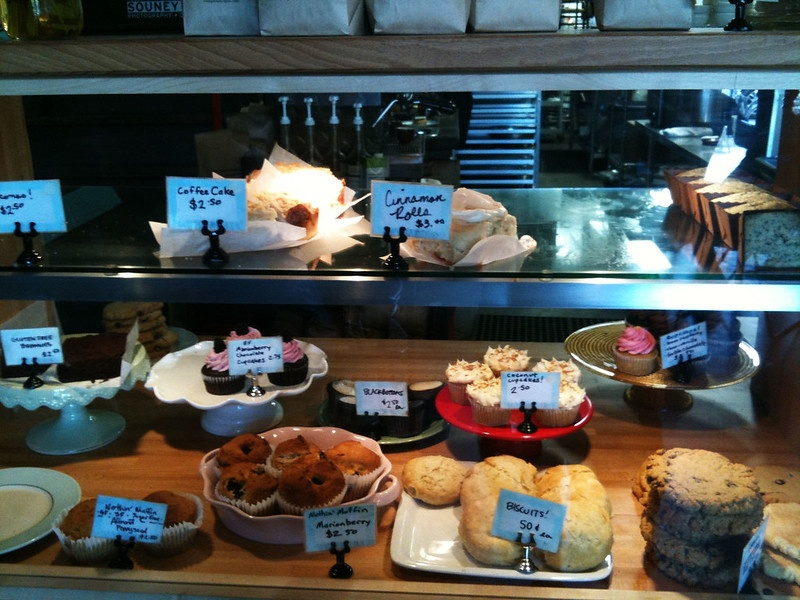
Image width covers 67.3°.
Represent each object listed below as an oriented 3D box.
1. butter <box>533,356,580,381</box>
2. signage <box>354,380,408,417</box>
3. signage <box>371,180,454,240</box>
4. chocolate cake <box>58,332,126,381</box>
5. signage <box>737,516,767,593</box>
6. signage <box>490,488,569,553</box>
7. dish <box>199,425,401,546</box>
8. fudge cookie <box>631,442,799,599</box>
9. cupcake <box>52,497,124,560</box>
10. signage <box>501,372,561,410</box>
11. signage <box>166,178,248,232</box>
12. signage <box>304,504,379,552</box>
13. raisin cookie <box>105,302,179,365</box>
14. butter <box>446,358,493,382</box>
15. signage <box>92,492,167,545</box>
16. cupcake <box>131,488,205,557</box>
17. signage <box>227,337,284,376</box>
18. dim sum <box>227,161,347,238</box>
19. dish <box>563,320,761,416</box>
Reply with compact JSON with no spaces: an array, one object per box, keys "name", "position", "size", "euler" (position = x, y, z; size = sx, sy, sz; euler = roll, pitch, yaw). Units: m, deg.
[{"name":"butter","position":[0.464,0.197,1.750],"size":[0.112,0.026,0.090],"euler":[2,12,9]},{"name":"signage","position":[-0.053,0.285,1.728],"size":[0.161,0.075,0.010],"euler":[0,15,5]},{"name":"signage","position":[0.017,-0.203,1.354],"size":[0.244,0.124,0.023],"euler":[-6,12,-42]},{"name":"chocolate cake","position":[-0.924,0.169,1.808],"size":[0.238,0.082,0.131],"euler":[0,41,-9]},{"name":"signage","position":[0.814,0.593,1.397],"size":[0.009,0.151,0.174],"euler":[29,51,36]},{"name":"signage","position":[0.316,0.517,1.403],"size":[0.063,0.106,0.203],"euler":[23,-19,-37]},{"name":"dish","position":[-0.292,0.462,1.499],"size":[0.436,0.062,0.309],"euler":[6,19,13]},{"name":"fudge cookie","position":[0.700,0.507,1.407],"size":[0.317,0.105,0.321],"euler":[-4,35,3]},{"name":"cupcake","position":[-0.773,0.566,1.500],"size":[0.152,0.054,0.149],"euler":[4,26,-9]},{"name":"signage","position":[0.353,0.247,1.646],"size":[0.007,0.103,0.199],"euler":[23,-21,-38]},{"name":"signage","position":[-0.454,-0.224,1.413],"size":[0.011,0.124,0.228],"euler":[13,15,33]},{"name":"signage","position":[-0.149,0.544,1.432],"size":[0.210,0.105,0.020],"euler":[12,-31,-38]},{"name":"raisin cookie","position":[-0.802,0.095,2.018],"size":[0.271,0.157,0.213],"euler":[-2,19,2]},{"name":"butter","position":[0.194,0.207,1.779],"size":[0.093,0.025,0.082],"euler":[-3,16,-12]},{"name":"signage","position":[-0.653,0.536,1.454],"size":[0.182,0.085,0.008],"euler":[9,3,-10]},{"name":"cupcake","position":[-0.570,0.538,1.485],"size":[0.183,0.063,0.145],"euler":[-1,19,-7]},{"name":"signage","position":[-0.418,0.162,1.760],"size":[0.211,0.104,0.017],"euler":[-7,-12,28]},{"name":"dim sum","position":[-0.275,-0.286,1.584],"size":[0.283,0.069,0.244],"euler":[5,21,1]},{"name":"dish","position":[0.777,0.194,1.917],"size":[0.521,0.113,0.514],"euler":[19,23,41]}]
